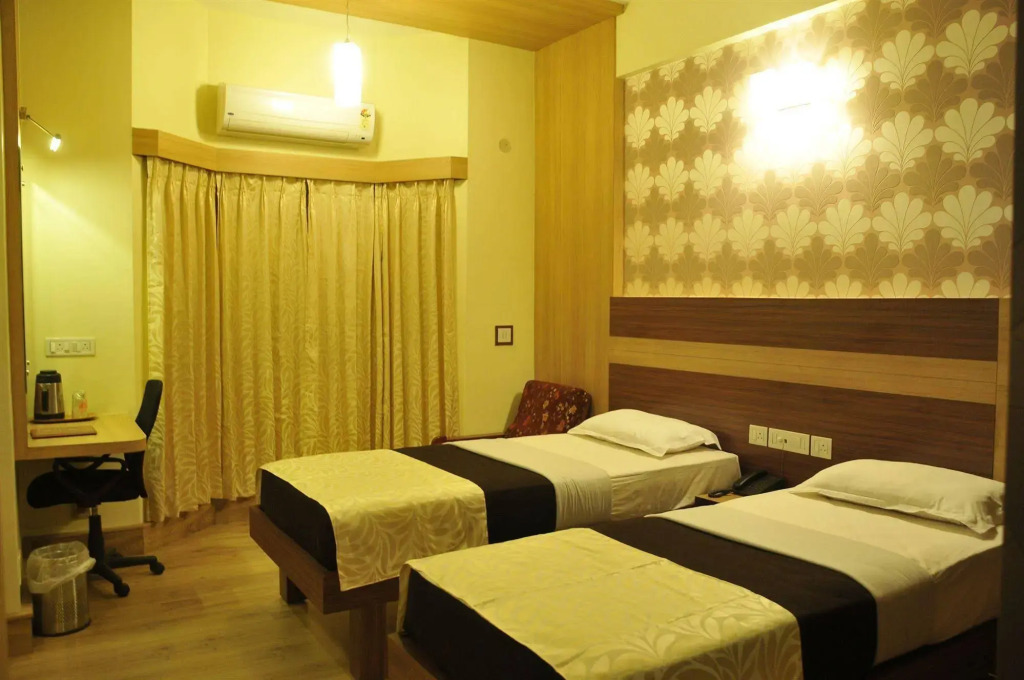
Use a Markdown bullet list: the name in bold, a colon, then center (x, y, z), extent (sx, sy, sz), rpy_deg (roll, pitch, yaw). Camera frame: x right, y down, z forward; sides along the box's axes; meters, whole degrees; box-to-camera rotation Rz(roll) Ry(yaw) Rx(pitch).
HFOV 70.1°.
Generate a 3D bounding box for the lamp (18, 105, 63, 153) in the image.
- **lamp**: center (-3.047, -1.361, 4.730), extent (0.213, 0.279, 0.395), rpy_deg (-7, 15, -29)

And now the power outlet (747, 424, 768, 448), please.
- **power outlet**: center (1.592, 0.628, 4.753), extent (0.016, 0.151, 0.152), rpy_deg (0, 3, -34)

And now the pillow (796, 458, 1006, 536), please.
- **pillow**: center (2.049, 0.796, 3.825), extent (0.665, 0.144, 0.631), rpy_deg (6, 9, 43)

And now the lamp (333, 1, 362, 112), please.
- **lamp**: center (-1.100, -1.750, 4.835), extent (0.173, 0.392, 0.186), rpy_deg (-1, 13, -8)

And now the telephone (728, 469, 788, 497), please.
- **telephone**: center (1.537, 0.903, 4.558), extent (0.225, 0.081, 0.168), rpy_deg (-4, 0, -30)

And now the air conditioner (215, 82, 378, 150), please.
- **air conditioner**: center (-1.673, -1.734, 5.691), extent (1.172, 0.420, 0.150), rpy_deg (-5, 14, -21)
